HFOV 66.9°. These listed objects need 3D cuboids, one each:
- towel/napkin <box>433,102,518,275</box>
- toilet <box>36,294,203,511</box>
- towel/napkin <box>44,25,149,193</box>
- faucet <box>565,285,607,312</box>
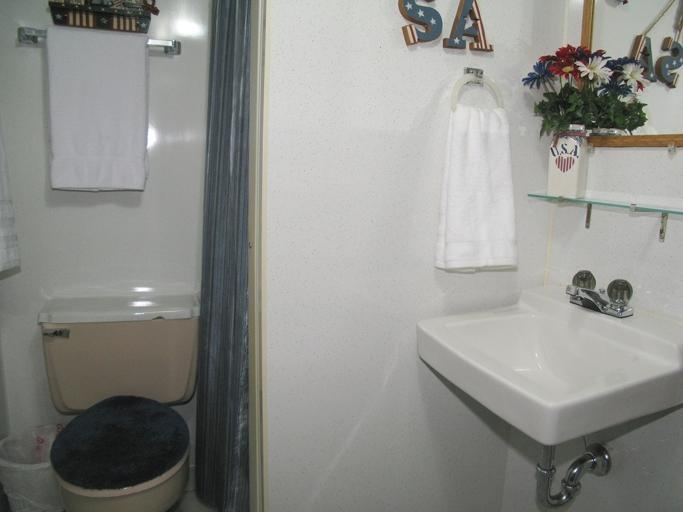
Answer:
[{"bbox_3d":[0.476,-0.241,1.809,0.289,0.557,0.127,-5,13,-23],"label":"towel/napkin"},{"bbox_3d":[-0.845,0.569,2.345,0.661,0.930,0.903,-2,13,-21],"label":"toilet"},{"bbox_3d":[-1.038,-0.625,2.203,0.387,0.677,0.067,-12,38,-40],"label":"towel/napkin"},{"bbox_3d":[0.844,0.138,1.788,0.127,0.070,0.081,2,13,26],"label":"faucet"}]
